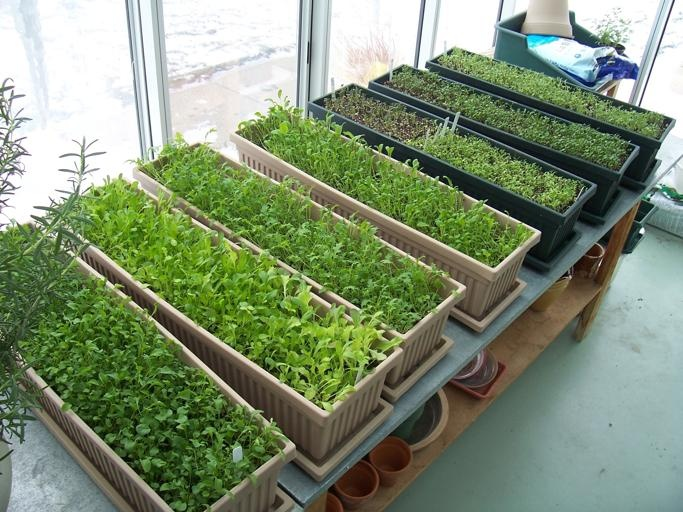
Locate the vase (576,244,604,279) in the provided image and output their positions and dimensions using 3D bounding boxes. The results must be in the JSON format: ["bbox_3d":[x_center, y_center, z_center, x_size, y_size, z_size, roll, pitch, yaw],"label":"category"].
[{"bbox_3d":[1.574,0.050,3.200,0.122,0.149,0.133,-24,51,-9],"label":"vase"}]

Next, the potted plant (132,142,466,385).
[{"bbox_3d":[-0.171,0.047,1.983,1.189,0.279,0.308,35,50,23],"label":"potted plant"}]
